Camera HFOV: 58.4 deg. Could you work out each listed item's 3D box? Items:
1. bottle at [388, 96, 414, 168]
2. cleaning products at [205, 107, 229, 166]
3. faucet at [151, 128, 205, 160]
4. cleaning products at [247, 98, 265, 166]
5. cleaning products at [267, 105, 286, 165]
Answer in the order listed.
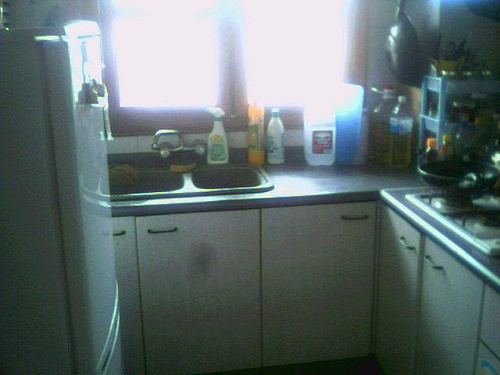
[{"bbox_3d":[0.836,-0.310,2.478,0.127,0.382,0.199,0,16,14],"label":"bottle"},{"bbox_3d":[-0.186,-0.288,2.479,0.116,0.308,0.115,-1,16,10],"label":"cleaning products"},{"bbox_3d":[-0.386,-0.241,2.438,0.280,0.167,0.193,-5,16,-6],"label":"faucet"},{"bbox_3d":[0.032,-0.296,2.478,0.096,0.344,0.072,-4,16,0],"label":"cleaning products"},{"bbox_3d":[0.126,-0.285,2.507,0.075,0.312,0.138,-16,20,-37],"label":"cleaning products"}]
